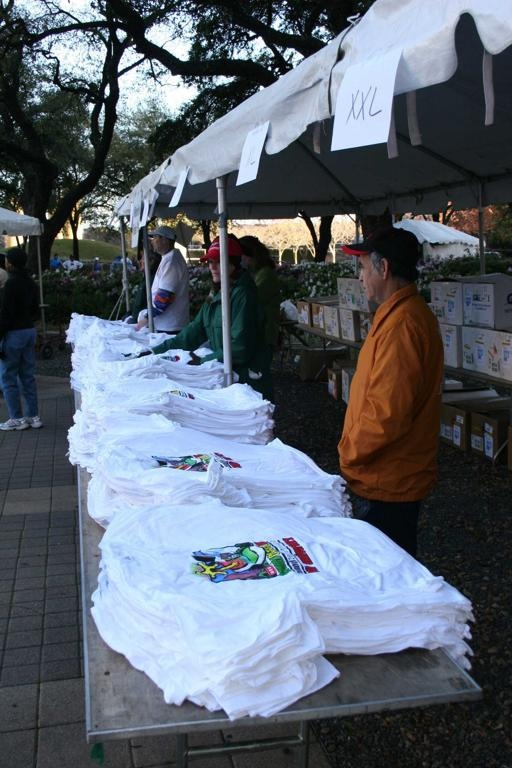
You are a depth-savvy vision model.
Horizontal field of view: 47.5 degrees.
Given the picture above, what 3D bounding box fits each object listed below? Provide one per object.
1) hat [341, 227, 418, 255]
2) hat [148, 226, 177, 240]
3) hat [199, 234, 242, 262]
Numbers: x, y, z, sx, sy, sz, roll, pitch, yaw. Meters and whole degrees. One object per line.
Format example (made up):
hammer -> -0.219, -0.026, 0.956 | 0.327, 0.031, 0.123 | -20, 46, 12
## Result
hat -> 0.449, -0.497, 2.116 | 0.193, 0.077, 0.126 | 4, 18, 32
hat -> -0.999, -1.604, 6.155 | 0.254, 0.134, 0.184 | 12, 19, 1
hat -> -0.201, -0.827, 3.517 | 0.241, 0.139, 0.160 | -9, 14, -23
